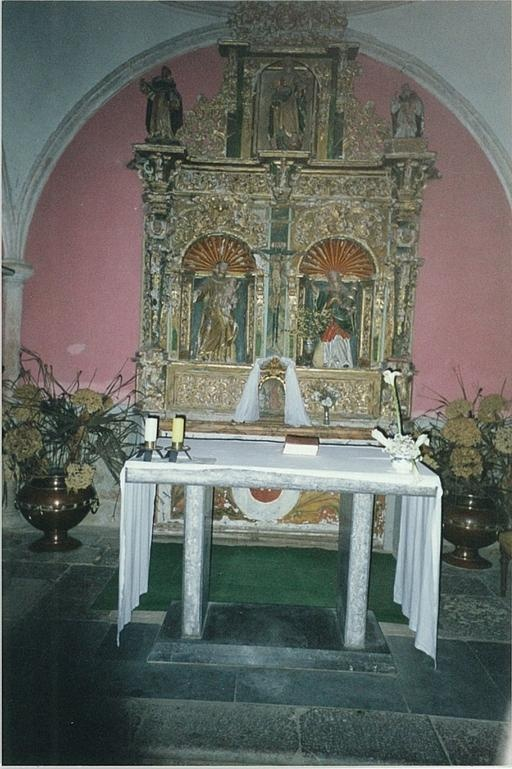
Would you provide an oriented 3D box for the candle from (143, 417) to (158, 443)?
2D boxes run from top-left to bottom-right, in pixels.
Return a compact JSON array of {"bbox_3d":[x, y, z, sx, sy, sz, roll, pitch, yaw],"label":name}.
[{"bbox_3d":[-0.607,0.258,4.471,0.060,0.140,0.127,4,11,3],"label":"candle"}]

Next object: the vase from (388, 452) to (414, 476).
[{"bbox_3d":[0.843,0.457,4.430,0.137,0.082,0.158,4,10,8],"label":"vase"}]

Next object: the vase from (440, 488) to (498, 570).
[{"bbox_3d":[1.659,1.143,6.129,0.550,0.489,0.544,-2,-4,30],"label":"vase"}]

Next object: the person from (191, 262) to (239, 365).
[{"bbox_3d":[-0.391,-0.699,7.433,0.425,0.930,0.199,2,11,-4],"label":"person"}]

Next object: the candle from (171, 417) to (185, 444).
[{"bbox_3d":[-0.452,0.261,4.498,0.066,0.146,0.140,1,11,-10],"label":"candle"}]

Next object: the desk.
[{"bbox_3d":[0.117,0.996,4.796,1.870,1.014,1.151,3,-3,-2],"label":"desk"}]

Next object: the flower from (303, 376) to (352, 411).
[{"bbox_3d":[0.660,0.071,7.311,0.356,0.232,0.049,0,-6,-4],"label":"flower"}]

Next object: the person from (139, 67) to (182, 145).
[{"bbox_3d":[-0.858,-2.537,7.070,0.399,0.675,0.207,2,11,-9],"label":"person"}]
